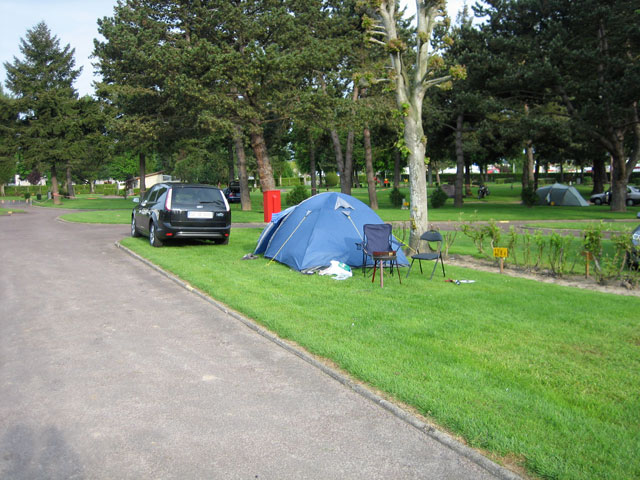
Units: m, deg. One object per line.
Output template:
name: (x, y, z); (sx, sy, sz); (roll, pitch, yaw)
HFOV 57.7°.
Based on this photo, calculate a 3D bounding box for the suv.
suv: (-4.623, -0.934, 18.760); (1.757, 1.446, 3.063); (0, 12, -26)

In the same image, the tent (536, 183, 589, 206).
tent: (19.180, -3.599, 46.373); (3.552, 1.532, 2.181); (8, 13, 37)

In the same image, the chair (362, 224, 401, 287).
chair: (1.400, 0.279, 13.462); (0.756, 1.425, 0.864); (-2, 1, -9)

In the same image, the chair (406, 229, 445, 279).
chair: (2.587, 0.307, 14.115); (0.620, 1.155, 0.781); (4, 5, 37)

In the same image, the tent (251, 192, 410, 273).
tent: (-0.284, -0.403, 15.140); (2.173, 1.151, 2.524); (-5, 14, -30)
